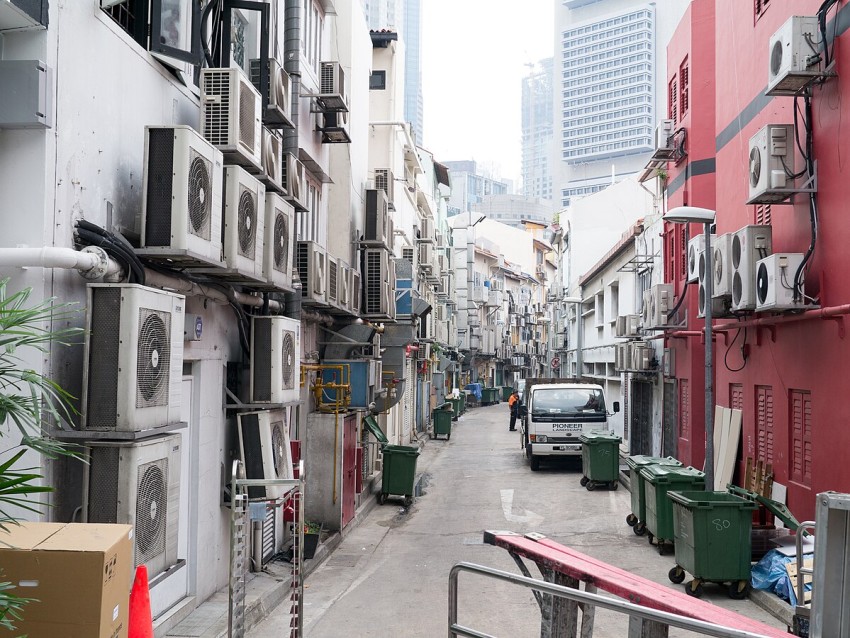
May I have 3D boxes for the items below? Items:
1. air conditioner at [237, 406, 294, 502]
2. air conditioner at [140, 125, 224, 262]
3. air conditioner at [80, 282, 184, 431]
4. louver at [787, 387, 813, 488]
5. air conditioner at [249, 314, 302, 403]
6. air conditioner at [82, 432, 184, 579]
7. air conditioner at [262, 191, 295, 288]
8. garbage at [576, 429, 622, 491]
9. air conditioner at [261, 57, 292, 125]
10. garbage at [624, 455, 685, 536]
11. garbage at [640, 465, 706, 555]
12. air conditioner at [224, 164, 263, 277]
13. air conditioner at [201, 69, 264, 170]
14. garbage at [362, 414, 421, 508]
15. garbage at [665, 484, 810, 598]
[{"bbox_3d":[-2.166,1.845,12.833,0.437,1.369,1.307,-2,-3,1],"label":"air conditioner"},{"bbox_3d":[-2.617,-1.300,9.917,0.408,1.351,1.313,1,-6,8],"label":"air conditioner"},{"bbox_3d":[-2.891,0.366,9.560,0.412,1.392,1.325,0,-3,8],"label":"air conditioner"},{"bbox_3d":[5.859,1.813,14.455,0.050,1.366,1.009,-3,-10,41],"label":"louver"},{"bbox_3d":[-2.051,0.541,12.639,0.302,1.062,1.023,-1,-6,7],"label":"air conditioner"},{"bbox_3d":[-2.887,1.888,9.425,0.419,1.423,1.372,0,-3,7],"label":"air conditioner"},{"bbox_3d":[-1.961,-1.033,12.399,0.335,1.126,1.074,0,-11,5],"label":"air conditioner"},{"bbox_3d":[4.122,3.299,21.703,0.891,1.271,0.743,1,0,10],"label":"garbage"},{"bbox_3d":[-2.046,-3.126,13.043,0.245,0.711,0.727,1,-1,16],"label":"air conditioner"},{"bbox_3d":[4.300,3.086,16.489,1.010,1.723,1.127,1,-5,4],"label":"garbage"},{"bbox_3d":[4.159,3.099,15.580,0.941,1.678,1.348,0,-2,7],"label":"garbage"},{"bbox_3d":[-2.196,-1.162,11.201,0.363,1.244,1.169,1,-5,7],"label":"air conditioner"},{"bbox_3d":[-2.292,-2.388,11.372,0.333,1.007,1.073,-1,-3,12],"label":"air conditioner"},{"bbox_3d":[-0.581,3.018,20.315,1.310,2.411,1.558,0,-2,5],"label":"garbage"},{"bbox_3d":[4.212,2.968,13.064,1.341,1.280,1.279,-1,-1,-3],"label":"garbage"}]
